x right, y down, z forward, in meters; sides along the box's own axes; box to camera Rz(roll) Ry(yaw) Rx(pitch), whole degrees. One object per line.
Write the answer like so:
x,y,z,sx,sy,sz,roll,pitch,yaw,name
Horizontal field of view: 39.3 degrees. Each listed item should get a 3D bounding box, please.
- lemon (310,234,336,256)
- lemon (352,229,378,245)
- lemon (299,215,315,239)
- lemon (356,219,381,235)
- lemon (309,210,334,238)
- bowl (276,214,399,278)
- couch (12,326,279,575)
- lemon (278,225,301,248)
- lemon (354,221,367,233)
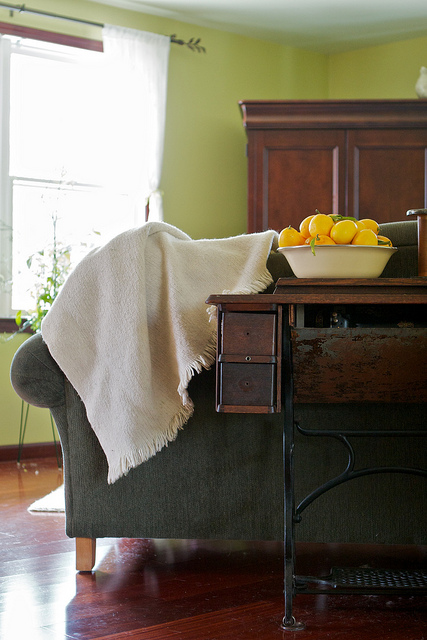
0.204,-0.143,1.118,0.046,0.044,0.048,-2,-7,11,lemon
0.282,-0.153,1.117,0.034,0.033,0.039,8,30,8,lemon
0.189,-0.194,1.245,0.037,0.024,0.045,-8,-15,-7,lemon
0.327,-0.195,1.244,0.048,0.036,0.063,6,4,-8,lemon
0.205,-0.185,1.161,0.041,0.038,0.052,-1,-26,-3,lemon
0.233,-0.151,1.198,0.212,0.115,0.236,10,13,43,bowl
-0.120,0.309,1.631,0.535,0.607,0.588,1,-8,3,couch
0.153,-0.165,1.201,0.048,0.051,0.045,0,-3,11,lemon
0.288,-0.182,1.164,0.031,0.015,0.029,1,-4,4,lemon
